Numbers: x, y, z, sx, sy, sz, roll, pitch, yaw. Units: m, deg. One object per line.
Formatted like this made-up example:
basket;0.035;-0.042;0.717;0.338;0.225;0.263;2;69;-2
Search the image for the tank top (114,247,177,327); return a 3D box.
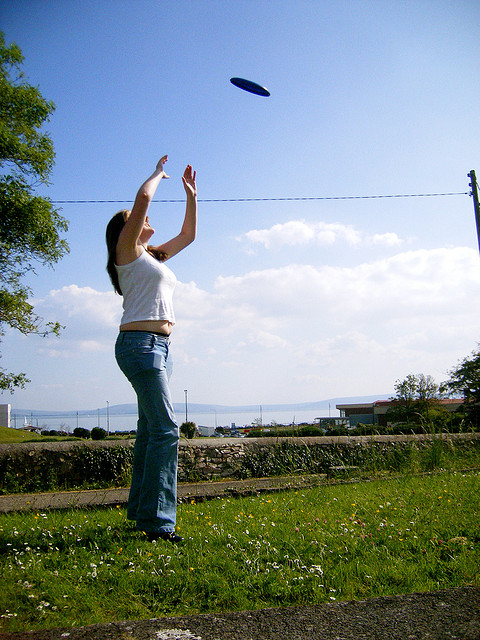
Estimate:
tank top;-0.578;-0.197;3.933;0.361;0.468;0.212;1;-10;-9
